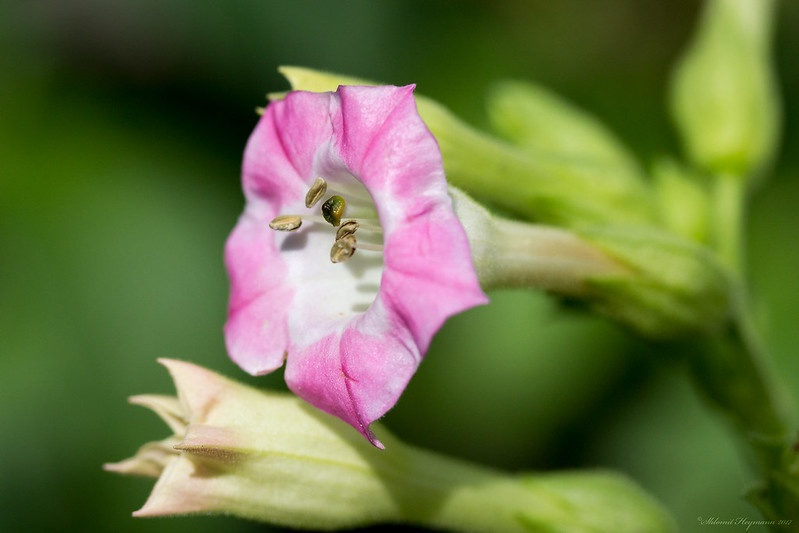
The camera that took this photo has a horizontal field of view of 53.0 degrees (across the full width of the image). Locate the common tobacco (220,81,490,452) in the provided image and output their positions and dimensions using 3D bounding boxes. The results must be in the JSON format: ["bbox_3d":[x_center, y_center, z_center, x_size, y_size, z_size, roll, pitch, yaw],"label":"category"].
[{"bbox_3d":[-0.137,-0.044,1.712,0.530,0.529,0.722,-34,53,-25],"label":"common tobacco"}]

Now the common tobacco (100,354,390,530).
[{"bbox_3d":[-0.361,0.455,1.951,0.617,0.287,0.313,10,54,-10],"label":"common tobacco"}]
